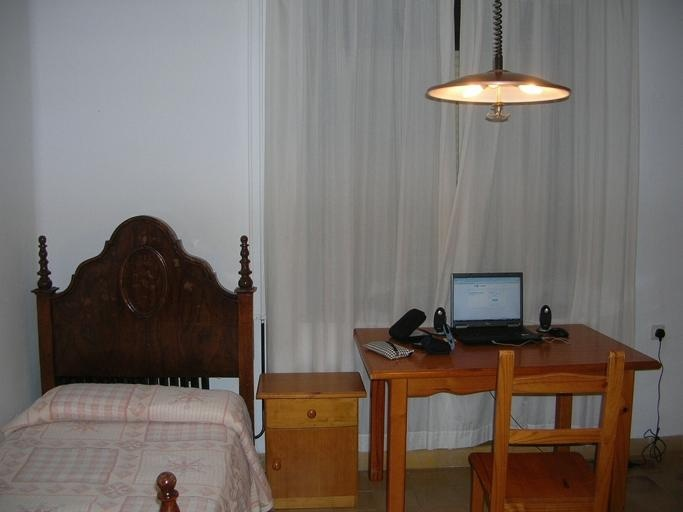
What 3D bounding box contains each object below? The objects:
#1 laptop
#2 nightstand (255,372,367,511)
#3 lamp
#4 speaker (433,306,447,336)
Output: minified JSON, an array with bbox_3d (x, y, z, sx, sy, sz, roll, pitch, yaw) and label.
[{"bbox_3d":[0.870,0.289,3.503,0.421,0.336,0.338,-1,2,0],"label":"laptop"},{"bbox_3d":[-0.139,0.960,3.736,0.795,0.992,0.598,-1,1,-3],"label":"nightstand"},{"bbox_3d":[0.775,-0.844,3.180,0.650,0.735,0.664,1,9,13],"label":"lamp"},{"bbox_3d":[0.571,0.379,3.598,0.081,0.147,0.050,1,7,34],"label":"speaker"}]
